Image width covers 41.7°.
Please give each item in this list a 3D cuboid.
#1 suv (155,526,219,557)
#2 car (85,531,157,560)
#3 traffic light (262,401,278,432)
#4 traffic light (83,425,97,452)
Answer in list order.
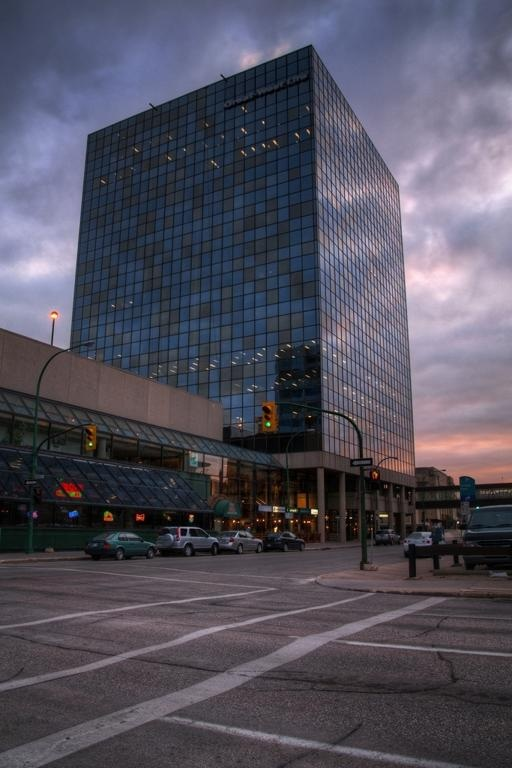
[{"bbox_3d":[-3.523,8.120,34.520,1.497,1.246,3.349,-3,-5,36],"label":"suv"},{"bbox_3d":[-5.830,7.078,29.109,0.950,1.192,2.975,-7,-12,34],"label":"car"},{"bbox_3d":[0.412,1.095,22.415,0.460,0.915,0.576,-1,-10,5],"label":"traffic light"},{"bbox_3d":[-7.898,2.561,32.299,0.460,1.129,1.518,3,-11,-18],"label":"traffic light"}]
